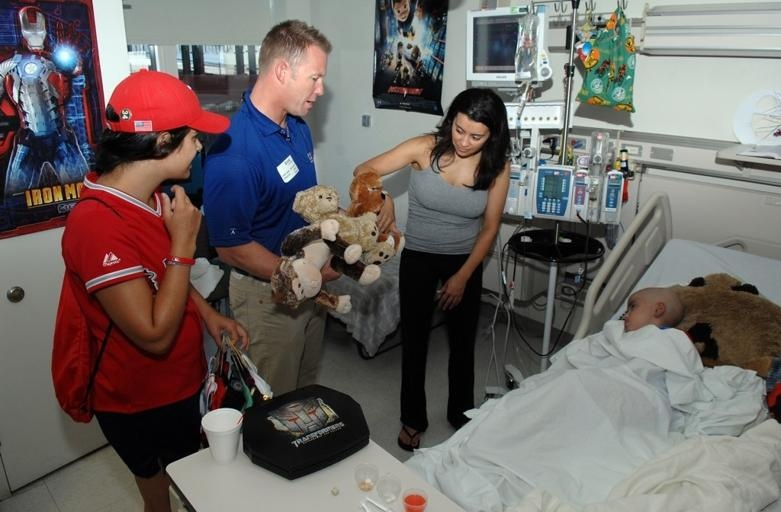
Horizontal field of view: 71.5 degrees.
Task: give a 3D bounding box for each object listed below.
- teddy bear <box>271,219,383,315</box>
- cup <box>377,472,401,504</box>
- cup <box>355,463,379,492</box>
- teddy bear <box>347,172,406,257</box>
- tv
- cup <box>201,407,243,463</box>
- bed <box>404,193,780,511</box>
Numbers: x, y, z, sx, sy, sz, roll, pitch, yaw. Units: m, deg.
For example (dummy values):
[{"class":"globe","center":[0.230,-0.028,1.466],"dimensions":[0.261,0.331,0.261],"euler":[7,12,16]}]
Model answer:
[{"class":"teddy bear","center":[-0.301,0.035,2.302],"dimensions":[0.423,0.350,0.237],"euler":[-25,3,-24]},{"class":"cup","center":[-0.003,0.816,1.914],"dimensions":[0.069,0.063,0.077],"euler":[-1,7,-9]},{"class":"cup","center":[-0.086,0.793,1.944],"dimensions":[0.072,0.067,0.082],"euler":[1,0,-19]},{"class":"teddy bear","center":[-0.078,-0.212,2.560],"dimensions":[0.233,0.352,0.223],"euler":[6,2,5]},{"class":"tv","center":[0.769,-1.373,3.549],"dimensions":[0.681,0.650,0.254],"euler":[12,23,36]},{"class":"cup","center":[-0.626,0.661,2.018],"dimensions":[0.158,0.162,0.165],"euler":[-1,12,0]},{"class":"bed","center":[0.843,0.567,2.330],"dimensions":[1.335,0.374,0.837],"euler":[-40,40,-22]}]
